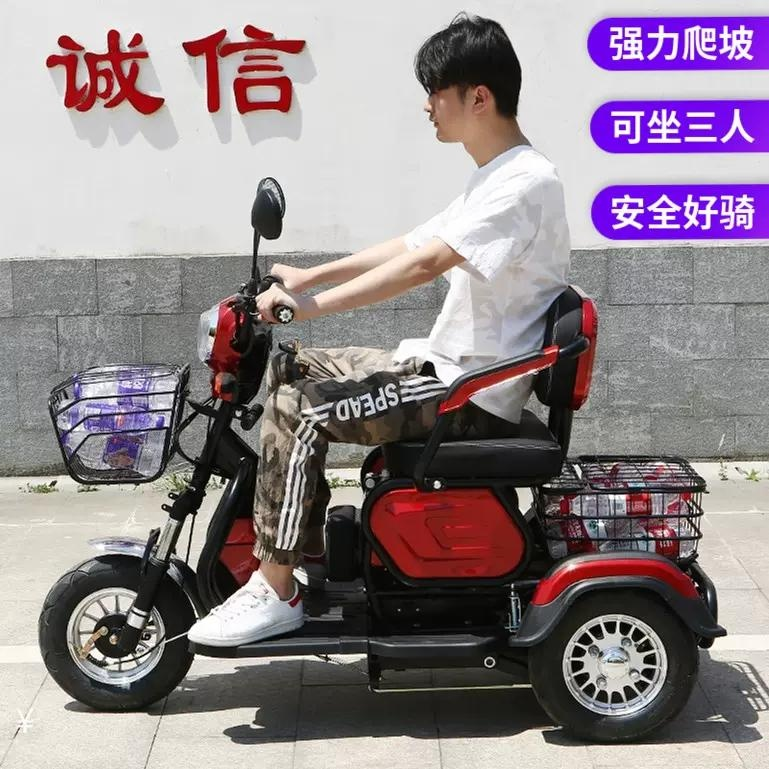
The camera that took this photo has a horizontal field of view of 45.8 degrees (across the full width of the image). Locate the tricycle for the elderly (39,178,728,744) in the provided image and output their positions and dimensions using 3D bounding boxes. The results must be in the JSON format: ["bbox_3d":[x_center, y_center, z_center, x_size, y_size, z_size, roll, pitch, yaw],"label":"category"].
[{"bbox_3d":[-0.164,0.385,3.497,2.782,1.733,1.206,1,1,1],"label":"tricycle for the elderly"}]

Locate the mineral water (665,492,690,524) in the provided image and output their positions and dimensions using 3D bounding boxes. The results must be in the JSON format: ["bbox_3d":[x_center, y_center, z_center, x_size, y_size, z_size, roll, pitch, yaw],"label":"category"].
[{"bbox_3d":[0.894,0.367,2.721,0.107,0.080,0.062,-4,7,-19],"label":"mineral water"}]

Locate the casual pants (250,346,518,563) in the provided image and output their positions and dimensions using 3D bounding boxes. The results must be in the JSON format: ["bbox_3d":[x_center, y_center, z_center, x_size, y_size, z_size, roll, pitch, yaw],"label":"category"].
[{"bbox_3d":[-0.057,0.254,2.902,0.729,0.676,0.471,-2,9,-8],"label":"casual pants"}]

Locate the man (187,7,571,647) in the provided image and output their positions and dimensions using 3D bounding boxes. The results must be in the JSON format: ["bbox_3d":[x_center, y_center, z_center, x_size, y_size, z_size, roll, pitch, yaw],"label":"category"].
[{"bbox_3d":[-0.061,-0.183,2.906,1.337,1.778,0.915,-2,15,-5],"label":"man"}]

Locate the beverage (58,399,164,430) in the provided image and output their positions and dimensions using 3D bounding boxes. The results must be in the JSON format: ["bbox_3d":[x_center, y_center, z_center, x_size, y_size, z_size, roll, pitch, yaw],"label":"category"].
[{"bbox_3d":[-0.801,0.087,2.666,0.321,0.089,0.046,-1,9,-2],"label":"beverage"}]

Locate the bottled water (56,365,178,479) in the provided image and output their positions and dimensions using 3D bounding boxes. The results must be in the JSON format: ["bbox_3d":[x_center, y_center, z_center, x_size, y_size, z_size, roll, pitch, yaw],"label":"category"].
[{"bbox_3d":[-0.812,0.144,2.773,0.411,0.242,0.295,-1,3,-13],"label":"bottled water"}]

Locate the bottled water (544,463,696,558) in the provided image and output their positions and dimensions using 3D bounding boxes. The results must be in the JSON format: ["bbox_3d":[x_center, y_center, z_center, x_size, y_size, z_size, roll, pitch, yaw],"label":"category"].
[{"bbox_3d":[0.732,0.390,2.856,0.446,0.212,0.306,0,-2,-1],"label":"bottled water"}]

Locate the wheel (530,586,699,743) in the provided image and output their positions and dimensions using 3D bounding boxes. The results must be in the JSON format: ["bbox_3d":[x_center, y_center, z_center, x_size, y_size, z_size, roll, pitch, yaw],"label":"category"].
[{"bbox_3d":[0.661,0.789,2.618,0.581,0.466,0.187,-1,0,0],"label":"wheel"}]

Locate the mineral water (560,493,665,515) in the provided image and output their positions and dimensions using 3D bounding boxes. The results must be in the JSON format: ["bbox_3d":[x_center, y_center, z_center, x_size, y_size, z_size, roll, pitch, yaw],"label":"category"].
[{"bbox_3d":[0.702,0.364,2.761,0.147,0.028,0.130,-1,4,-2],"label":"mineral water"}]

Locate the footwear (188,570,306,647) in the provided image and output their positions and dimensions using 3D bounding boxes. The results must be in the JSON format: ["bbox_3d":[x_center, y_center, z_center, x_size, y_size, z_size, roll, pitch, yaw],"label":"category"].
[{"bbox_3d":[-0.398,0.663,2.752,0.398,0.177,0.137,-5,7,-20],"label":"footwear"}]
